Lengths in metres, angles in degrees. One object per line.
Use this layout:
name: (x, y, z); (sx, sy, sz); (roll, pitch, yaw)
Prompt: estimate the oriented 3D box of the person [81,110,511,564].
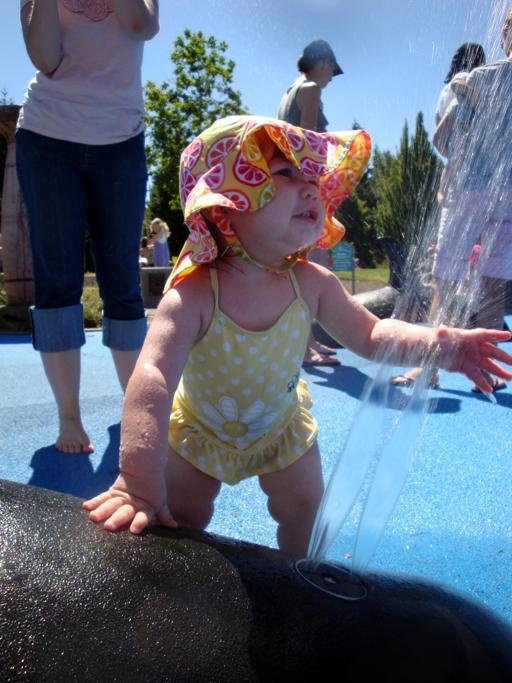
person: (0.030, 0.005, 1.214); (0.752, 0.929, 0.812); (1, 21, -17)
